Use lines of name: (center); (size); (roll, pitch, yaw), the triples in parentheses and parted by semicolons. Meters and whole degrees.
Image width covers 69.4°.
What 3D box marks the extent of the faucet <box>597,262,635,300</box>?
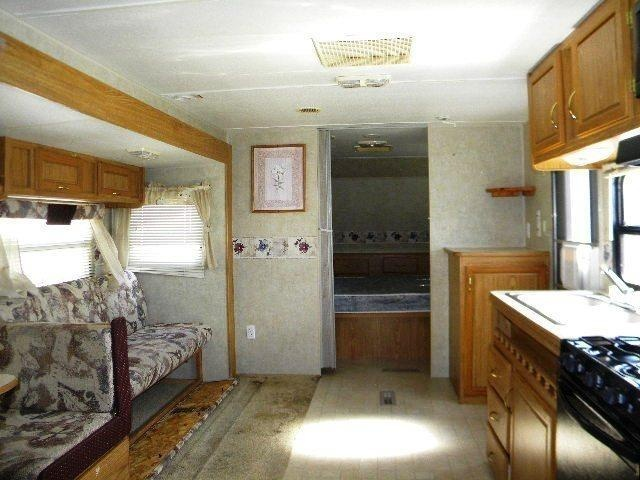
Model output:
faucet: (1.716, 0.238, 2.663); (0.082, 0.253, 0.066); (31, -57, -19)
